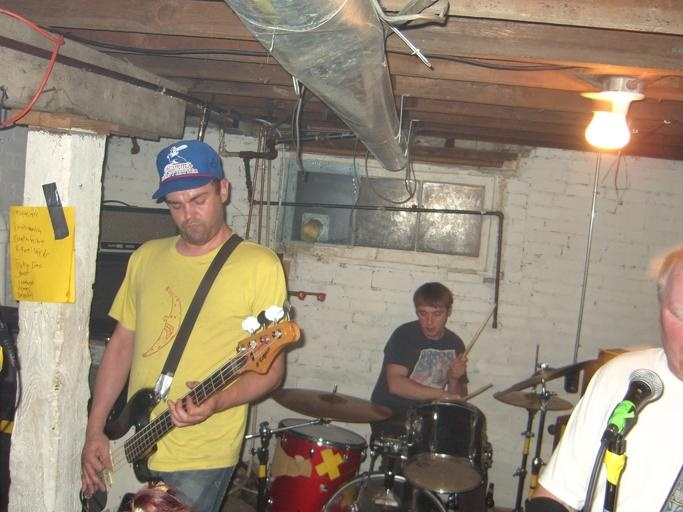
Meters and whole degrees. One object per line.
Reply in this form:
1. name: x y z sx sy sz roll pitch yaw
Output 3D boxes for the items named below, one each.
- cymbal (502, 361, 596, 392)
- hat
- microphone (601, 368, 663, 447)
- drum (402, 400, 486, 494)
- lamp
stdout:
1. cymbal: 1.367 0.781 5.583 0.369 0.155 0.408 -6 -8 -18
2. hat: -0.829 -0.491 4.704 0.282 0.198 0.374 -3 17 18
3. microphone: 1.264 0.617 3.694 0.164 0.151 0.429 21 43 38
4. drum: 0.708 1.231 5.668 0.566 0.517 0.565 1 0 28
5. lamp: 1.621 -0.864 5.058 0.436 0.424 0.392 8 -3 20
